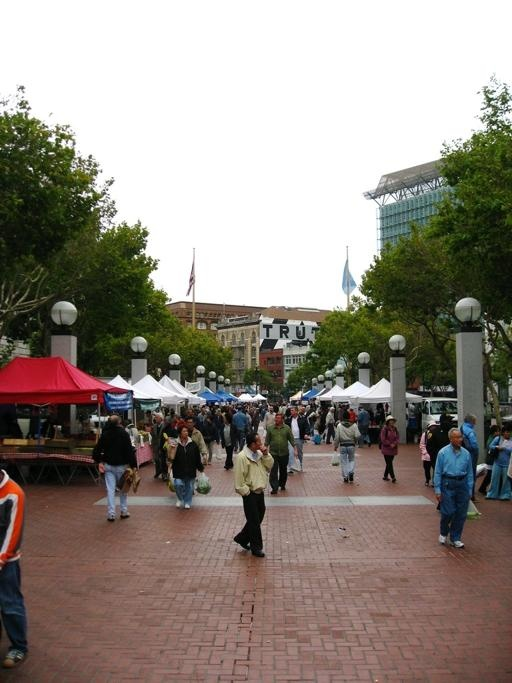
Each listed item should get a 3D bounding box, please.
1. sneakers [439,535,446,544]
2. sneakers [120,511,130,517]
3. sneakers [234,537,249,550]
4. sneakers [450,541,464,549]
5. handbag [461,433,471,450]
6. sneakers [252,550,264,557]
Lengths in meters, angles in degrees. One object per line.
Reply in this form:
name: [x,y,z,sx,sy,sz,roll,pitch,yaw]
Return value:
sneakers: [2.488,2.577,9.095,0.068,0.138,0.060,-9,-26,6]
sneakers: [-2.191,2.876,11.495,0.162,0.109,0.066,-4,12,-21]
sneakers: [-0.175,2.588,8.909,0.188,0.186,0.271,-1,-2,7]
sneakers: [2.614,2.594,8.845,0.160,0.079,0.190,-2,-2,13]
handbag: [3.631,1.695,11.737,0.147,0.308,0.365,-2,-2,16]
sneakers: [0.025,2.584,8.436,0.158,0.074,0.130,-1,-2,5]
